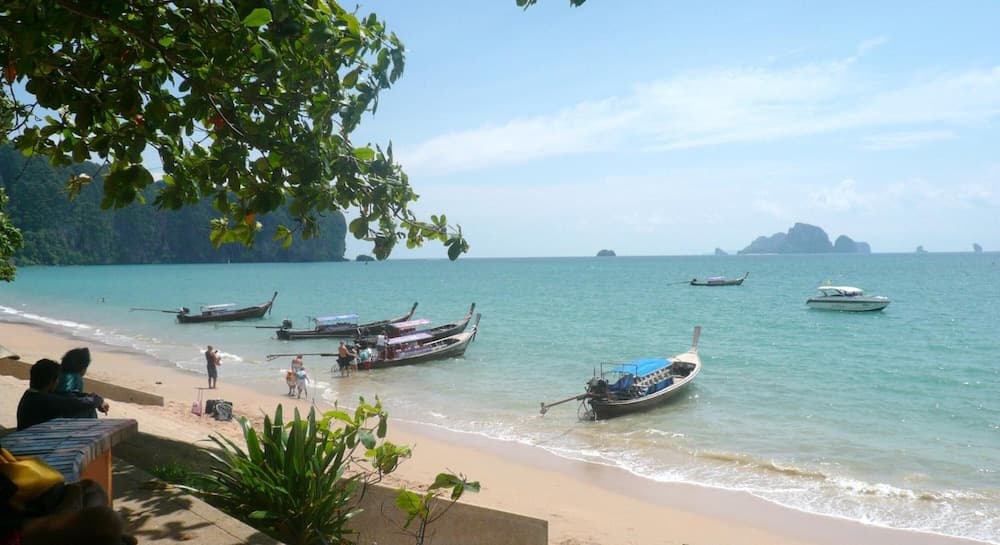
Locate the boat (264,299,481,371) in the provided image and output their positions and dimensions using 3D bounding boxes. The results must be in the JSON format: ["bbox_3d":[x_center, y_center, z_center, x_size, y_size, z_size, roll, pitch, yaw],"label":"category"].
[{"bbox_3d":[-9.383,4.525,48.684,11.447,2.749,2.154,-8,13,-26],"label":"boat"}]

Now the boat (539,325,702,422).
[{"bbox_3d":[7.623,5.347,32.843,12.064,3.326,2.932,-10,16,-39],"label":"boat"}]

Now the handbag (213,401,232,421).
[{"bbox_3d":[-10.815,5.487,26.356,0.672,0.720,0.736,-6,10,-38],"label":"handbag"}]
